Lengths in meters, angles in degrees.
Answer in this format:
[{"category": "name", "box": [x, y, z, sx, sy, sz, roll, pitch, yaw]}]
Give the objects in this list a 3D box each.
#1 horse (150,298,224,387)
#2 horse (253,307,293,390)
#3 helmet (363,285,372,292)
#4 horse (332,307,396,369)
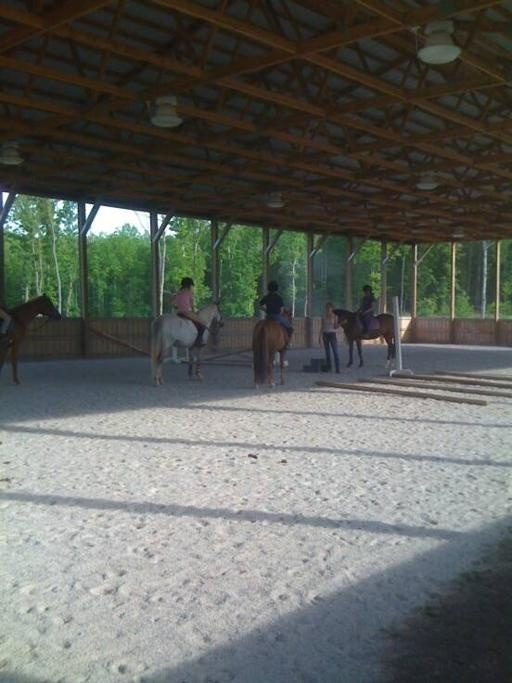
[{"category": "horse", "box": [-1.567, -0.017, 11.843, 0.552, 1.665, 2.393, 7, 7, 32]}, {"category": "horse", "box": [0.307, 0.245, 10.551, 0.529, 1.403, 1.272, 0, 2, 13]}, {"category": "helmet", "box": [3.096, -1.461, 14.479, 0.198, 0.244, 0.236, -8, 25, 12]}, {"category": "horse", "box": [3.035, -0.134, 15.019, 2.438, 1.781, 0.610, 0, 6, 0]}]
